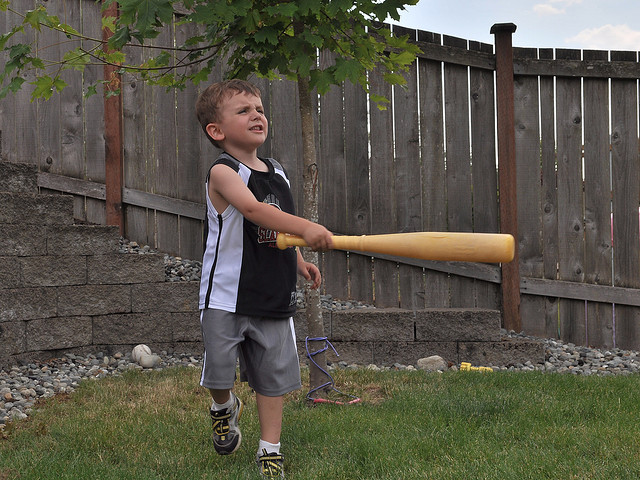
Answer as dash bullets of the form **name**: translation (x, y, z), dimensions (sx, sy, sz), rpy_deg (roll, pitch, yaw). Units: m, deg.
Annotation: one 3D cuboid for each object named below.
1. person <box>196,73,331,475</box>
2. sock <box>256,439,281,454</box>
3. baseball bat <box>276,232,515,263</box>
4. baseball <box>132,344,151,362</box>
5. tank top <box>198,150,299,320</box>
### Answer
- **person**: translation (-0.386, 0.196, 4.567), dimensions (0.634, 2.217, 0.650), rpy_deg (-1, 9, -4)
- **sock**: translation (-0.294, 1.184, 4.465), dimensions (0.100, 0.118, 0.066), rpy_deg (1, -5, 17)
- **baseball bat**: translation (0.453, 0.041, 4.601), dimensions (1.135, 0.200, 0.189), rpy_deg (3, -4, 9)
- **baseball**: translation (-1.508, 0.963, 6.615), dimensions (0.149, 0.119, 0.249), rpy_deg (-4, 11, -16)
- **tank top**: translation (-0.417, -0.022, 4.555), dimensions (0.577, 0.974, 0.486), rpy_deg (-1, 10, -2)
